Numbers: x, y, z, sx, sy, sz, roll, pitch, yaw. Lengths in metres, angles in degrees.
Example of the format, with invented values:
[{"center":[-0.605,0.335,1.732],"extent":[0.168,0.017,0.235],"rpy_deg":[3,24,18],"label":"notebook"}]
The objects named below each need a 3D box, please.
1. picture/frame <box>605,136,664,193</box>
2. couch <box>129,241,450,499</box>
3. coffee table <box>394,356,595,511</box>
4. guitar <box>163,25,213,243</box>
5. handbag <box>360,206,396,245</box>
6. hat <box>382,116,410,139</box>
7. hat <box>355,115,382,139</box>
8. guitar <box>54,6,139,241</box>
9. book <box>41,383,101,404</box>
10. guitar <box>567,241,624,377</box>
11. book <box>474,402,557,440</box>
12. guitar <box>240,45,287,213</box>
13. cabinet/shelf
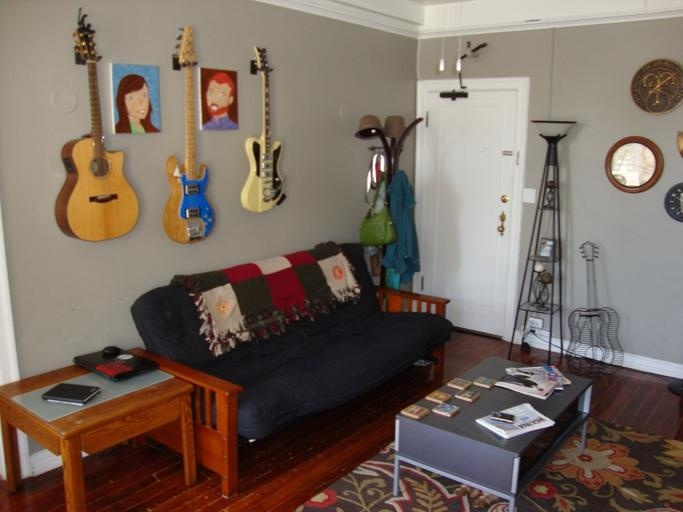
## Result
[{"center":[2.496,-0.789,4.609],"extent":[0.387,0.428,0.046],"rpy_deg":[25,19,37],"label":"picture/frame"},{"center":[-0.484,0.666,4.021],"extent":[1.407,1.433,2.594],"rpy_deg":[13,21,38],"label":"couch"},{"center":[0.800,1.041,3.209],"extent":[0.697,0.451,1.116],"rpy_deg":[8,18,36],"label":"coffee table"},{"center":[-1.107,-0.803,3.679],"extent":[0.109,1.454,0.372],"rpy_deg":[7,18,34],"label":"guitar"},{"center":[0.334,-0.266,4.925],"extent":[0.325,0.337,0.171],"rpy_deg":[4,8,39],"label":"handbag"},{"center":[0.499,-1.201,5.061],"extent":[0.197,0.173,0.198],"rpy_deg":[-11,26,-20],"label":"hat"},{"center":[0.231,-1.174,4.935],"extent":[0.228,0.223,0.395],"rpy_deg":[-2,15,2],"label":"hat"},{"center":[-1.541,-0.775,3.250],"extent":[0.137,1.368,0.469],"rpy_deg":[9,18,38],"label":"guitar"},{"center":[-1.501,0.775,3.009],"extent":[0.221,0.023,0.130],"rpy_deg":[1,15,28],"label":"book"},{"center":[2.262,0.447,4.833],"extent":[0.483,1.095,0.305],"rpy_deg":[9,18,37],"label":"guitar"},{"center":[0.998,0.964,3.155],"extent":[0.426,0.048,0.258],"rpy_deg":[-9,16,-22],"label":"book"},{"center":[-0.640,-0.952,4.148],"extent":[0.111,1.255,0.425],"rpy_deg":[7,18,34],"label":"guitar"},{"center":[1.829,-0.075,4.968],"extent":[0.461,2.039,0.489],"rpy_deg":[3,16,21],"label":"cabinet/shelf"}]
